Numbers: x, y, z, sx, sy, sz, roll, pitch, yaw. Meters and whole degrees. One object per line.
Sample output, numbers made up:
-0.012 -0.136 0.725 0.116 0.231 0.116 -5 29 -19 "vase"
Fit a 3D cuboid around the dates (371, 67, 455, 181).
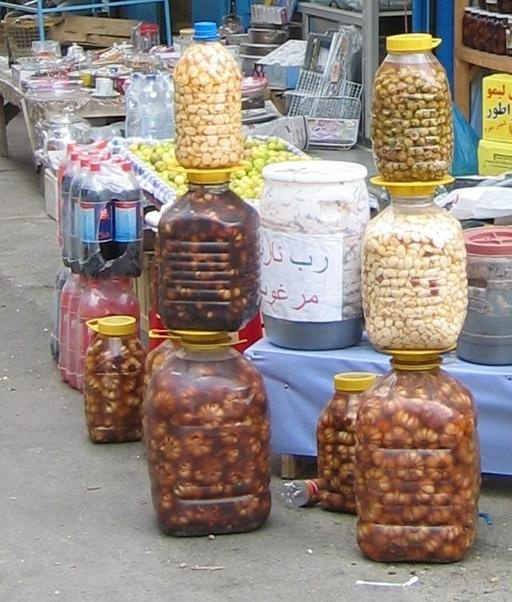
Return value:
0.375 -0.428 1.894 0.194 0.283 0.120 -1 15 10 "dates"
